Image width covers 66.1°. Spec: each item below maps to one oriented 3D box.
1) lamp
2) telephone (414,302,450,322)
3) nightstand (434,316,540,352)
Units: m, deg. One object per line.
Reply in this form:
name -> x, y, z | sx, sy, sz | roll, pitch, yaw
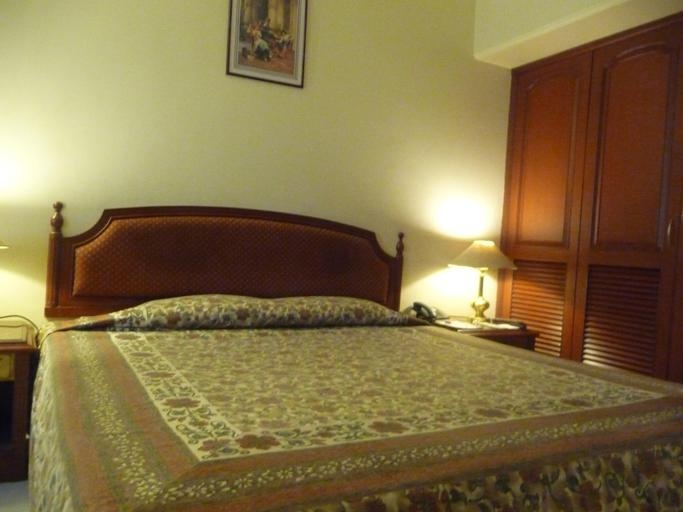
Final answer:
lamp -> 1.004, 0.140, 4.027 | 0.558, 0.688, 0.577 | 3, 5, 18
telephone -> 0.624, 0.392, 3.756 | 0.147, 0.070, 0.180 | -5, 9, -38
nightstand -> 1.056, 0.523, 3.705 | 0.396, 0.262, 0.386 | -2, 4, -39
